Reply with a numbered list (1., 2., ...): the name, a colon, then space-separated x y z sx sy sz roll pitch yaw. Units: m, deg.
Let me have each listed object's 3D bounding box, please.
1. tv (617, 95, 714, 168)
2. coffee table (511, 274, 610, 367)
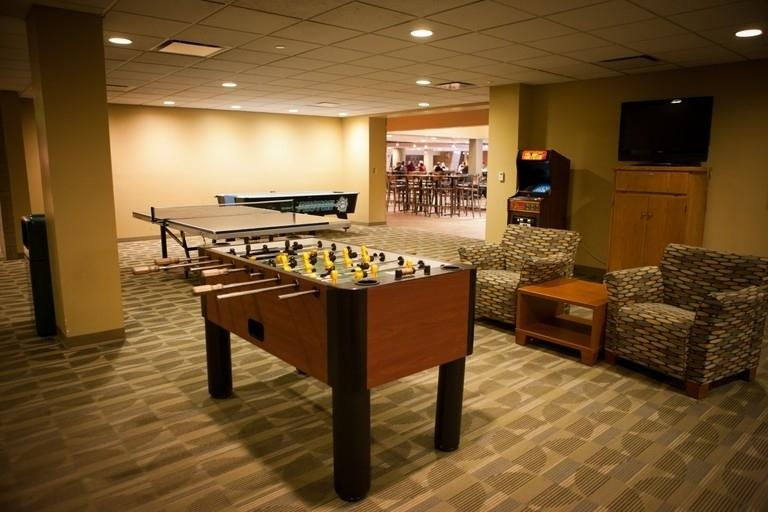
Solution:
1. tv: 4.240 -1.849 7.275 0.202 0.891 1.414 -11 14 -42
2. coffee table: 2.120 0.709 5.570 0.942 0.724 0.951 -10 14 -35
